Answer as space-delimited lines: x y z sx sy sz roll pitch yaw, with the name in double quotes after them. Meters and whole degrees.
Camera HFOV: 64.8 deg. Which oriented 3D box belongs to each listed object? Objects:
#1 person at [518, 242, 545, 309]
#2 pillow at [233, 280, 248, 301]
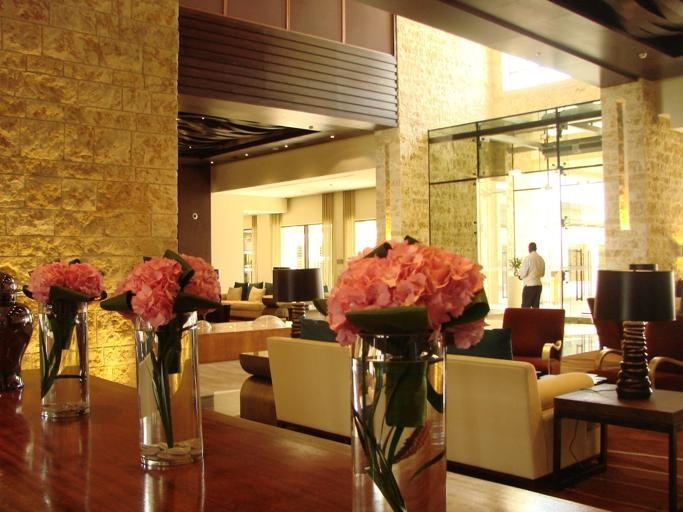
3.435 0.329 9.656 0.447 1.157 0.334 -1 -7 19 "person"
-2.809 0.987 14.940 0.437 0.471 0.189 -7 -14 37 "pillow"
